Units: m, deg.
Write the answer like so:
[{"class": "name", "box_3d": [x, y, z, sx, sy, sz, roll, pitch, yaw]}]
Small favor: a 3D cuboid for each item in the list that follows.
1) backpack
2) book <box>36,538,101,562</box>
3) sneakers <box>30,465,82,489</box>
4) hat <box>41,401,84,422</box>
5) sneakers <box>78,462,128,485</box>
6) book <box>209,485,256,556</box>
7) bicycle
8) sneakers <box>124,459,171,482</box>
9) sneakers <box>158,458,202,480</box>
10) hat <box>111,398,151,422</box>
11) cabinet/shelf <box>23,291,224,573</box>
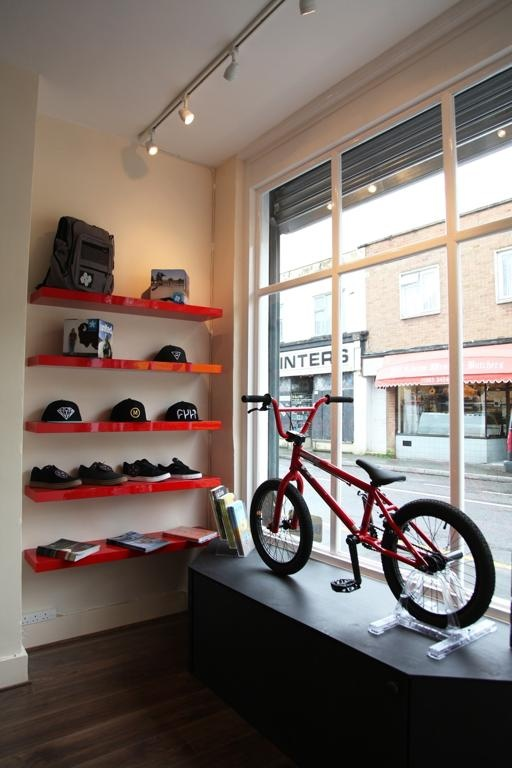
[{"class": "backpack", "box_3d": [-0.876, -0.626, 2.809, 0.202, 0.377, 0.362, 4, -2, 33]}, {"class": "book", "box_3d": [-0.904, 0.793, 2.671, 0.280, 0.055, 0.322, 0, -1, -15]}, {"class": "sneakers", "box_3d": [-0.974, 0.448, 2.688, 0.219, 0.104, 0.181, -1, -2, 38]}, {"class": "hat", "box_3d": [-0.952, 0.127, 2.717, 0.140, 0.082, 0.110, 0, 1, -10]}, {"class": "sneakers", "box_3d": [-0.795, 0.455, 2.813, 0.242, 0.100, 0.162, -1, -2, 37]}, {"class": "book", "box_3d": [-0.111, 0.671, 2.714, 0.119, 0.331, 0.322, -18, 1, 6]}, {"class": "bicycle", "box_3d": [0.348, 0.443, 2.117, 0.518, 0.762, 1.130, 2, -3, -43]}, {"class": "sneakers", "box_3d": [-0.579, 0.449, 2.954, 0.256, 0.109, 0.102, 2, -3, 19]}, {"class": "sneakers", "box_3d": [-0.447, 0.470, 3.097, 0.279, 0.117, 0.096, -1, -7, 26]}, {"class": "hat", "box_3d": [-0.675, 0.134, 2.932, 0.162, 0.077, 0.112, -1, 4, -35]}, {"class": "cabinet/shelf", "box_3d": [-0.665, 0.205, 2.911, 1.034, 1.284, 0.326, 1, -2, -41]}]
